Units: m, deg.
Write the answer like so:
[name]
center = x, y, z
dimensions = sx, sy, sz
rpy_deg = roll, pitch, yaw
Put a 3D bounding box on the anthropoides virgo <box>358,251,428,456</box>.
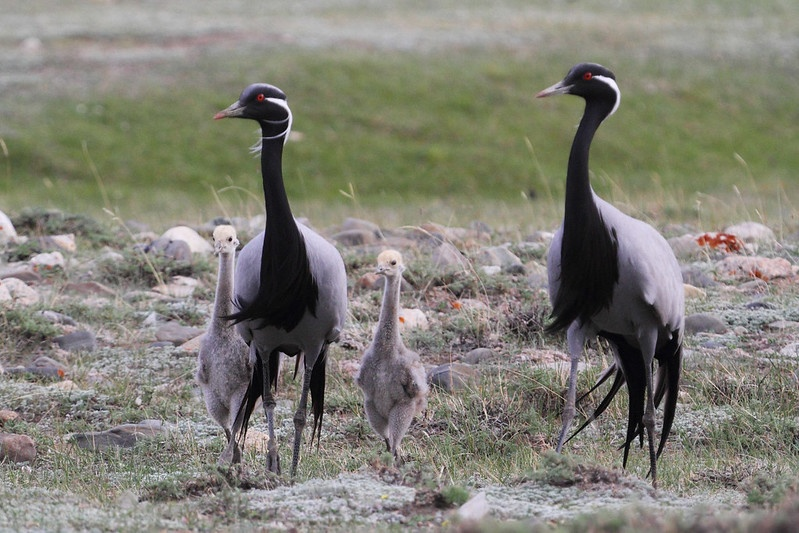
[anthropoides virgo]
center = -0.108, 1.308, 18.203
dimensions = 0.823, 2.991, 0.714
rpy_deg = 12, 19, 42
